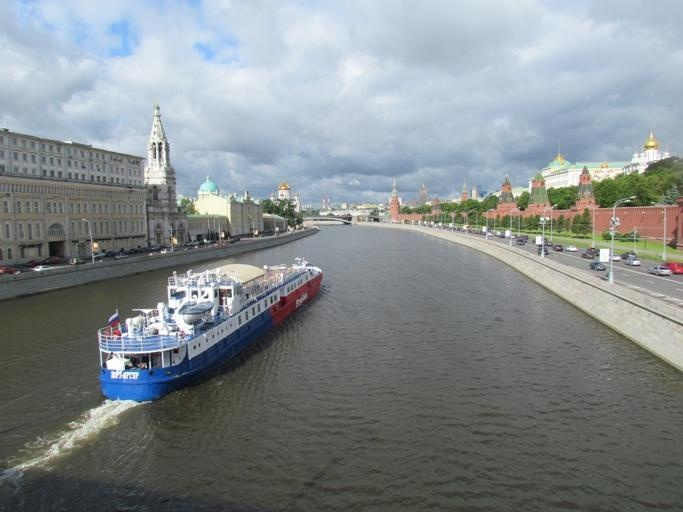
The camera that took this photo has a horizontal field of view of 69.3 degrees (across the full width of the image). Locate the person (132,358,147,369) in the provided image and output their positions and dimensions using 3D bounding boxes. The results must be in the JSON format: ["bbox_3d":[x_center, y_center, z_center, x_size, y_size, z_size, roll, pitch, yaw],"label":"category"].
[{"bbox_3d":[-12.878,6.858,31.631,0.886,0.710,0.633,-4,-9,-3],"label":"person"}]
